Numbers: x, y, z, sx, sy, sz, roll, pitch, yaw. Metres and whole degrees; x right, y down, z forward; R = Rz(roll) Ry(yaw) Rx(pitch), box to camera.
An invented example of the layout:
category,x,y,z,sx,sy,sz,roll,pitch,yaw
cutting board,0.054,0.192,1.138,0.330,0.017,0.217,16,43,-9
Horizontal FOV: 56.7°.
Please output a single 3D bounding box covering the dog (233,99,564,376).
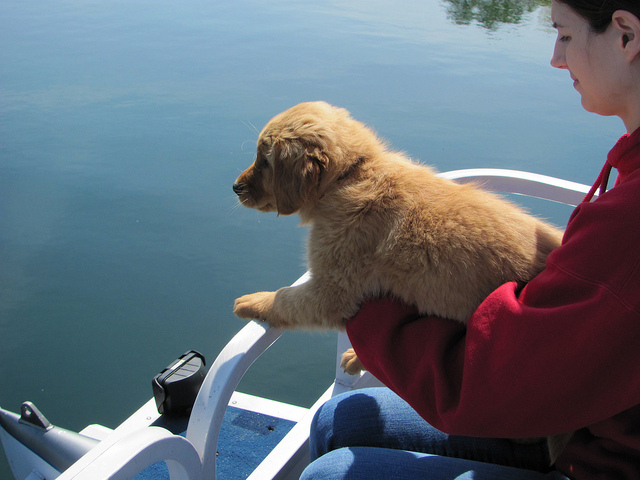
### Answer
category,x,y,z,sx,sy,sz,roll,pitch,yaw
dog,0.429,-0.017,2.795,1.881,0.955,0.618,11,16,29
